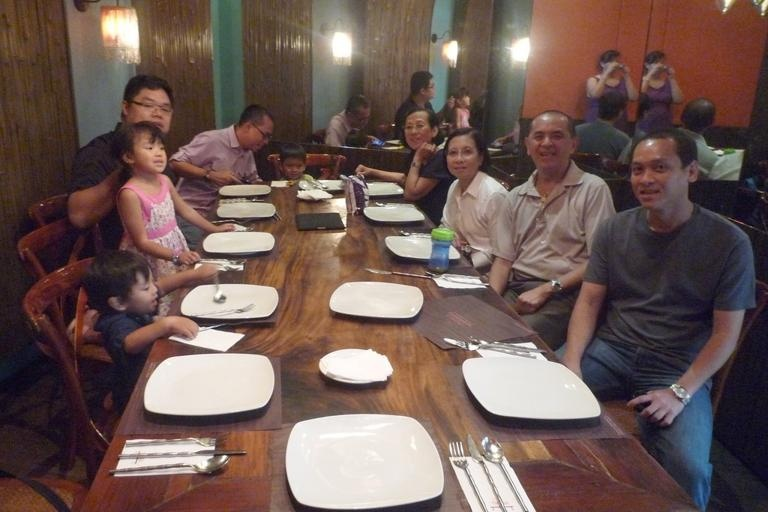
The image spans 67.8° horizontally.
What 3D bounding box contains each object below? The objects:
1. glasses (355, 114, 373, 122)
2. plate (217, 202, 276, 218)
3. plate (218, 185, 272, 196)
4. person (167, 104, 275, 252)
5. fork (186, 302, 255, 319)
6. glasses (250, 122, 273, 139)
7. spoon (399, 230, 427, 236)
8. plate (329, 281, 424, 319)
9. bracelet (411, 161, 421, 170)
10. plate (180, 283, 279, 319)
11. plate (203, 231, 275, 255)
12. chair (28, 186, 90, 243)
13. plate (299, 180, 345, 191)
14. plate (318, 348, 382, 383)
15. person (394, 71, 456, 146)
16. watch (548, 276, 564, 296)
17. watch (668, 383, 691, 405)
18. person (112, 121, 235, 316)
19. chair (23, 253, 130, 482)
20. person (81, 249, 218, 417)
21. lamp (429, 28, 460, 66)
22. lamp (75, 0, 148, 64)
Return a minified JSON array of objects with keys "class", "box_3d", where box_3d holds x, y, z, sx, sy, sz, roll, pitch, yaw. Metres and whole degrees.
[{"class":"glasses","box_3d":[-0.248,-1.546,6.358,0.137,0.042,0.137,-10,27,-24]},{"class":"plate","box_3d":[-0.855,-0.281,3.500,0.251,0.029,0.157,-1,30,-5]},{"class":"plate","box_3d":[-0.989,-0.464,3.995,0.237,0.028,0.150,-1,26,-4]},{"class":"person","box_3d":[-1.316,-0.537,4.608,0.763,1.423,0.594,9,16,-25]},{"class":"fork","box_3d":[-0.686,0.228,2.377,0.239,0.034,0.033,-4,46,-8]},{"class":"glasses","box_3d":[-0.949,-0.985,4.418,0.132,0.074,0.104,45,14,21]},{"class":"spoon","box_3d":[0.168,-0.130,3.233,0.157,0.018,0.050,0,32,-20]},{"class":"plate","box_3d":[-0.037,0.192,2.482,0.261,0.038,0.194,3,30,5]},{"class":"bracelet","box_3d":[0.244,-0.674,4.232,0.065,0.039,0.068,3,4,-20]},{"class":"plate","box_3d":[-0.659,0.194,2.436,0.249,0.035,0.186,1,30,-1]},{"class":"plate","box_3d":[-0.761,-0.066,2.973,0.229,0.031,0.176,-1,28,-3]},{"class":"chair","box_3d":[-1.897,-0.245,3.310,0.211,0.296,0.281,15,27,29]},{"class":"plate","box_3d":[-0.454,-0.534,4.276,0.217,0.033,0.155,0,30,-10]},{"class":"plate","box_3d":[-0.108,0.407,2.106,0.139,0.020,0.139,3,23,-1]},{"class":"person","box_3d":[0.434,-1.561,6.413,0.579,0.937,0.450,9,-7,6]},{"class":"watch","box_3d":[0.923,0.148,3.092,0.052,0.081,0.075,-3,-20,0]},{"class":"watch","box_3d":[1.286,0.624,2.521,0.063,0.097,0.101,-40,69,-4]},{"class":"person","box_3d":[-1.209,-0.059,3.260,0.673,1.324,0.529,9,23,8]},{"class":"chair","box_3d":[-1.332,0.411,2.584,0.397,0.538,0.428,16,-9,-38]},{"class":"person","box_3d":[-0.990,0.318,2.395,0.370,0.759,0.386,-7,50,-9]},{"class":"lamp","box_3d":[0.757,-2.496,6.858,0.243,0.444,0.227,-6,-1,13]},{"class":"lamp","box_3d":[-1.974,-1.676,4.233,0.179,0.422,0.264,12,25,25]}]
